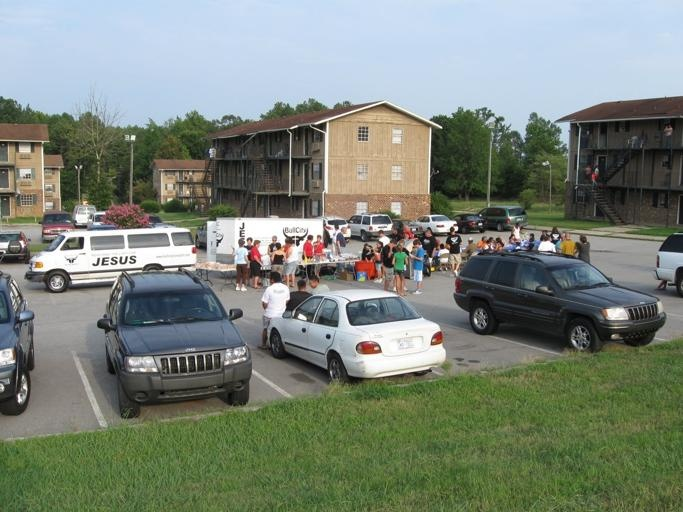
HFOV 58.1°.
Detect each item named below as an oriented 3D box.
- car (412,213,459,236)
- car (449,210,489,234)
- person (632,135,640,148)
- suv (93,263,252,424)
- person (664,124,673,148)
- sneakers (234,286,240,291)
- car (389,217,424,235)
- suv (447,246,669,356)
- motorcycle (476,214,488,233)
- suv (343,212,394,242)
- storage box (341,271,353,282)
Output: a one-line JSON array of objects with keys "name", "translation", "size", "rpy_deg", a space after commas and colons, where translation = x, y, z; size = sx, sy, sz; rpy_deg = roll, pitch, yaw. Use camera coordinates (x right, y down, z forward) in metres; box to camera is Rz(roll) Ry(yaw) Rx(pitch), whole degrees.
[{"name": "car", "translation": [6.196, -1.985, 43.711], "size": [1.771, 1.304, 4.039], "rpy_deg": [-7, 16, -22]}, {"name": "car", "translation": [8.938, -2.431, 44.491], "size": [1.152, 0.928, 2.580], "rpy_deg": [-4, 12, -13]}, {"name": "person", "translation": [22.605, -8.805, 47.245], "size": [0.621, 0.884, 0.347], "rpy_deg": [3, 7, 30]}, {"name": "suv", "translation": [-3.329, 1.469, 11.883], "size": [1.878, 1.579, 3.318], "rpy_deg": [-3, 3, -24]}, {"name": "person", "translation": [24.044, -8.860, 45.233], "size": [0.511, 1.711, 0.765], "rpy_deg": [2, 7, 26]}, {"name": "sneakers", "translation": [-4.039, 1.248, 23.874], "size": [0.173, 0.180, 0.175], "rpy_deg": [1, -1, -29]}, {"name": "car", "translation": [4.377, -2.004, 43.636], "size": [1.355, 1.074, 3.045], "rpy_deg": [-6, 17, -23]}, {"name": "suv", "translation": [5.206, 1.064, 15.406], "size": [2.297, 2.106, 4.741], "rpy_deg": [-5, 3, -32]}, {"name": "motorcycle", "translation": [10.048, -2.331, 44.321], "size": [0.844, 0.827, 1.620], "rpy_deg": [-2, 16, -5]}, {"name": "suv", "translation": [2.014, -2.028, 42.845], "size": [1.727, 1.445, 3.191], "rpy_deg": [-5, 16, -28]}, {"name": "storage box", "translation": [0.216, 0.816, 26.153], "size": [0.439, 0.370, 0.943], "rpy_deg": [-3, 7, -14]}]
